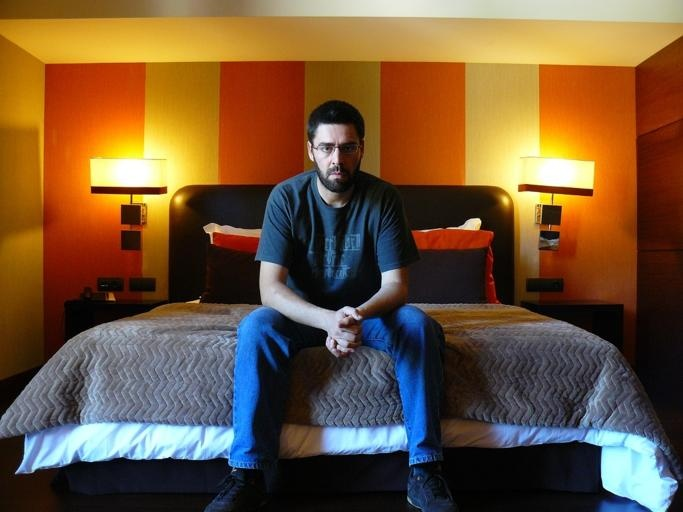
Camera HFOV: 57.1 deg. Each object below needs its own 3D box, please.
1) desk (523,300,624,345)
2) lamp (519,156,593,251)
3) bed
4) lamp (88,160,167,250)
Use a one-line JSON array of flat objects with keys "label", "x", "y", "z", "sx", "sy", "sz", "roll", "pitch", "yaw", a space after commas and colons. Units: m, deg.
[{"label": "desk", "x": 1.596, "y": 0.418, "z": 4.289, "sx": 0.484, "sy": 0.519, "sz": 0.365, "roll": 0, "pitch": 2, "yaw": 1}, {"label": "lamp", "x": 1.543, "y": -0.367, "z": 4.433, "sx": 0.574, "sy": 0.826, "sz": 0.201, "roll": 2, "pitch": -2, "yaw": -3}, {"label": "bed", "x": 0.030, "y": 0.691, "z": 2.815, "sx": 2.777, "sy": 0.744, "sz": 0.814, "roll": 0, "pitch": 7, "yaw": 9}, {"label": "lamp", "x": -1.519, "y": -0.362, "z": 4.373, "sx": 0.555, "sy": 0.792, "sz": 0.382, "roll": 0, "pitch": -1, "yaw": -5}]
